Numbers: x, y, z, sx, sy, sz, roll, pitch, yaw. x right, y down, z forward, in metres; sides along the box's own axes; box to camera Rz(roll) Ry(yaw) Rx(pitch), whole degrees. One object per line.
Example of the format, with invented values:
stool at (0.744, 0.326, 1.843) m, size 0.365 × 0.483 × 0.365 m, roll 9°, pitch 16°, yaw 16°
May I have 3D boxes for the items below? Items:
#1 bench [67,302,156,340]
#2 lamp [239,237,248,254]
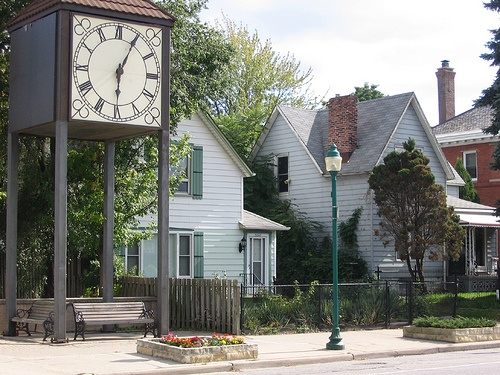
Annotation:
bench at (-3.959, 3.896, 26.717) m, size 2.574 × 1.097 × 0.917 m, roll 6°, pitch -7°, yaw -44°
lamp at (-0.318, 2.471, 38.660) m, size 0.362 × 0.563 × 0.326 m, roll 3°, pitch -11°, yaw -22°
